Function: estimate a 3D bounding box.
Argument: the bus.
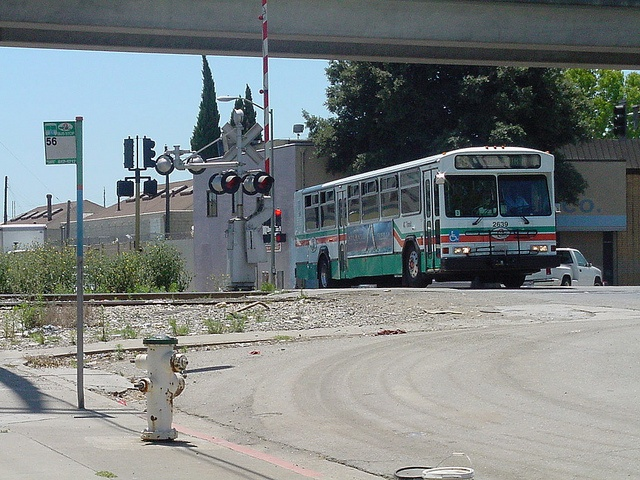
[{"bbox_3d":[2.776,-0.259,42.074,3.970,3.958,13.478,-2,-2,-21],"label":"bus"}]

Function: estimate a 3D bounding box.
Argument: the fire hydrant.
[{"bbox_3d":[-2.527,2.327,20.368,0.791,1.638,0.379,-2,-2,-8],"label":"fire hydrant"}]

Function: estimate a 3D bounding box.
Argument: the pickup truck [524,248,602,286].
[{"bbox_3d":[8.350,1.132,44.421,2.677,1.124,1.435,-5,5,-38],"label":"pickup truck"}]
